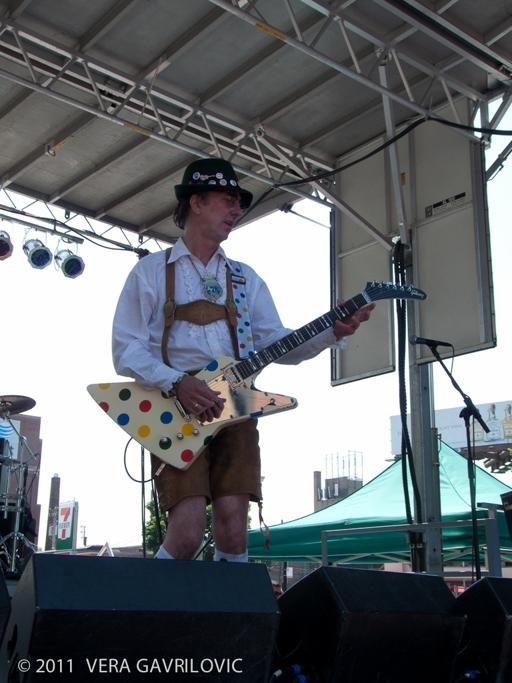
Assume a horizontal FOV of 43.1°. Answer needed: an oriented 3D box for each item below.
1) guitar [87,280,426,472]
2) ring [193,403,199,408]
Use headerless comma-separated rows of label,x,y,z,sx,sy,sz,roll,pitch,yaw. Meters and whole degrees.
guitar,0.079,0.038,2.236,1.205,0.424,0.154,-31,-26,-23
ring,-0.184,0.194,1.976,0.012,0.016,0.004,-2,-3,-2
